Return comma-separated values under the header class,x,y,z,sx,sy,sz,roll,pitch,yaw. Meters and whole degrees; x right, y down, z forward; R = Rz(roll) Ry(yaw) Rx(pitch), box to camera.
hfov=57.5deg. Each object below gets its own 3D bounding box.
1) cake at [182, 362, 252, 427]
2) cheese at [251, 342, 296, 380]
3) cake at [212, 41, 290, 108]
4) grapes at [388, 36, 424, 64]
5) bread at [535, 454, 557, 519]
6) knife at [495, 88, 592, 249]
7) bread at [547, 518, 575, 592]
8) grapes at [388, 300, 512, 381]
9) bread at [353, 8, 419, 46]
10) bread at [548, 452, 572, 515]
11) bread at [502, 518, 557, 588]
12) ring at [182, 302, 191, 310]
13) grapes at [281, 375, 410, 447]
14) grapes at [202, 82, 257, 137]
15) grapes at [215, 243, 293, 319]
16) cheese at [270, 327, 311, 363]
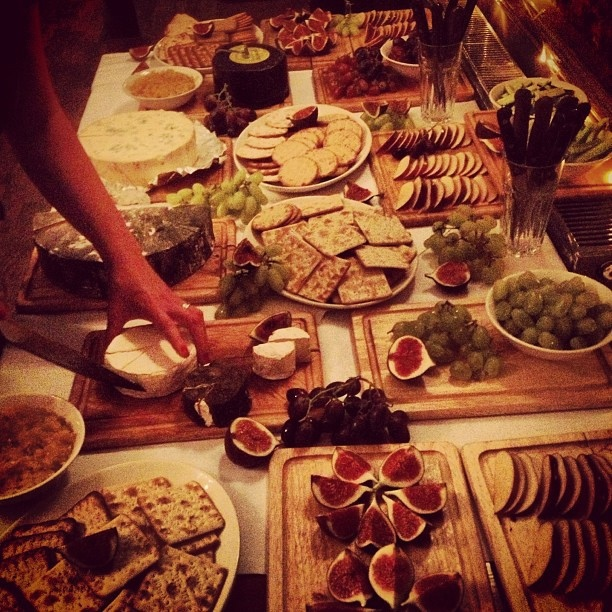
class,x,y,z,sx,sy,sz,roll,pitch,yaw
cake,-0.302,0.304,1.922,0.193,0.196,0.196,6,61,12
cheese,-0.125,0.200,2.043,0.132,0.096,0.144,5,24,8
cake,-0.351,-1.468,3.591,0.405,0.326,0.448,-8,49,-7
grapes,0.646,-1.694,3.710,0.184,0.110,0.207,1,47,-1
bread,0.688,0.516,1.621,0.032,0.097,0.138,16,74,-7
knife,0.986,-0.538,2.307,0.259,0.675,0.324,-23,48,-12
bread,0.647,0.640,1.432,0.026,0.133,0.138,10,65,-11
grapes,0.541,0.135,2.037,0.389,0.142,0.249,31,72,27
bread,0.624,-2.194,4.402,0.408,0.180,0.499,-2,38,6
bread,0.719,0.498,1.592,0.097,0.029,0.118,-15,50,40
bread,0.614,0.684,1.547,0.143,0.029,0.138,-59,27,-2
ring,-0.437,0.002,2.027,0.021,0.007,0.023,6,39,-5
grapes,0.131,0.341,1.873,0.351,0.203,0.230,1,11,7
grapes,-0.463,-1.175,3.561,0.277,0.380,0.191,-18,13,30
grapes,-0.256,-0.077,2.387,0.167,0.485,0.240,32,54,-1
cheese,-0.049,0.132,2.096,0.180,0.142,0.110,-2,32,-5
